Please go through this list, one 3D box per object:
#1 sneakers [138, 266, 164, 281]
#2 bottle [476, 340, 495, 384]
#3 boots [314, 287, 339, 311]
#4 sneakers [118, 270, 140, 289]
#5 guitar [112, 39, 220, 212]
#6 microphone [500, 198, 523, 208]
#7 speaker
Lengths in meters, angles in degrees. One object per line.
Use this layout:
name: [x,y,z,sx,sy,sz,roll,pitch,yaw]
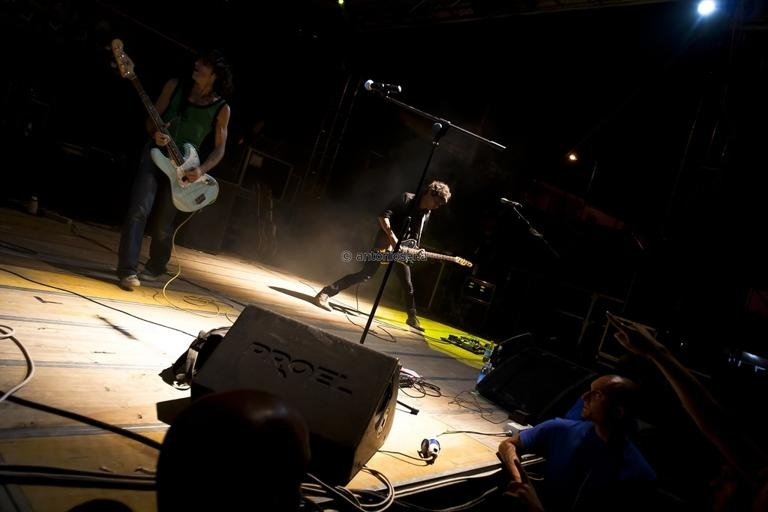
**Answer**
sneakers: [-2.408,0.179,5.813,0.109,0.126,0.298,35,-5,-6]
bottle: [1.104,1.222,6.365,0.093,0.393,0.393,17,39,4]
boots: [-0.783,0.573,7.318,0.202,0.207,0.330,4,-5,-3]
sneakers: [-2.478,0.234,5.455,0.202,0.158,0.194,19,1,-19]
guitar: [-2.181,-1.170,5.632,1.226,1.524,0.593,18,2,-19]
microphone: [2.222,-0.923,9.826,0.504,0.147,0.097,14,19,-39]
speaker: [-0.601,1.262,4.349,1.460,0.910,1.150,21,11,14]
